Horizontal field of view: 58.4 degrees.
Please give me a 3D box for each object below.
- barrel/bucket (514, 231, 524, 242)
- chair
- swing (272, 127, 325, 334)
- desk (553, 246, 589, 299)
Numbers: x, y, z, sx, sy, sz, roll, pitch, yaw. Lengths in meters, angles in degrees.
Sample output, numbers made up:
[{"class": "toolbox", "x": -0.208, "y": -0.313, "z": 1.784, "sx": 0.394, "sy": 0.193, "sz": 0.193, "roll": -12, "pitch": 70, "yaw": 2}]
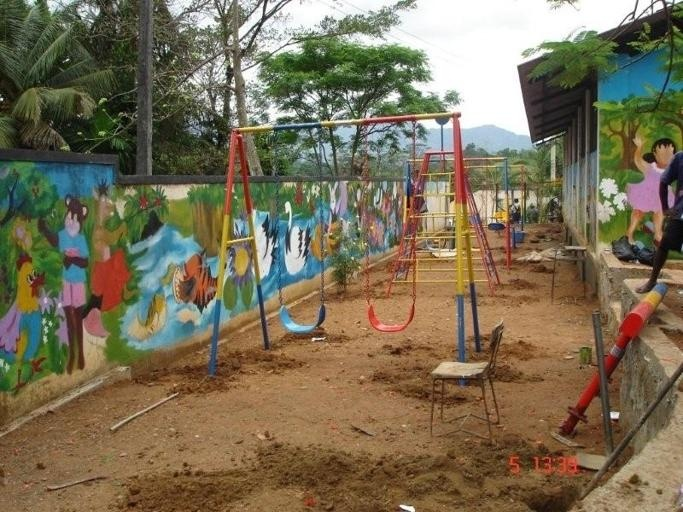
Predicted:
[{"class": "barrel/bucket", "x": 5.979, "y": -0.627, "z": 20.599, "sx": 0.466, "sy": 0.338, "sz": 0.493, "roll": -2, "pitch": 1, "yaw": 0}, {"class": "chair", "x": 1.184, "y": 1.129, "z": 6.190, "sx": 0.710, "sy": 1.157, "sz": 0.880, "roll": 5, "pitch": 9, "yaw": 18}, {"class": "swing", "x": -0.765, "y": 0.036, "z": 10.455, "sx": 0.768, "sy": 5.541, "sz": 0.877, "roll": 2, "pitch": 10, "yaw": -1}, {"class": "desk", "x": 4.776, "y": 0.369, "z": 12.705, "sx": 0.286, "sy": 0.531, "sz": 0.976, "roll": 0, "pitch": 4, "yaw": 14}]
